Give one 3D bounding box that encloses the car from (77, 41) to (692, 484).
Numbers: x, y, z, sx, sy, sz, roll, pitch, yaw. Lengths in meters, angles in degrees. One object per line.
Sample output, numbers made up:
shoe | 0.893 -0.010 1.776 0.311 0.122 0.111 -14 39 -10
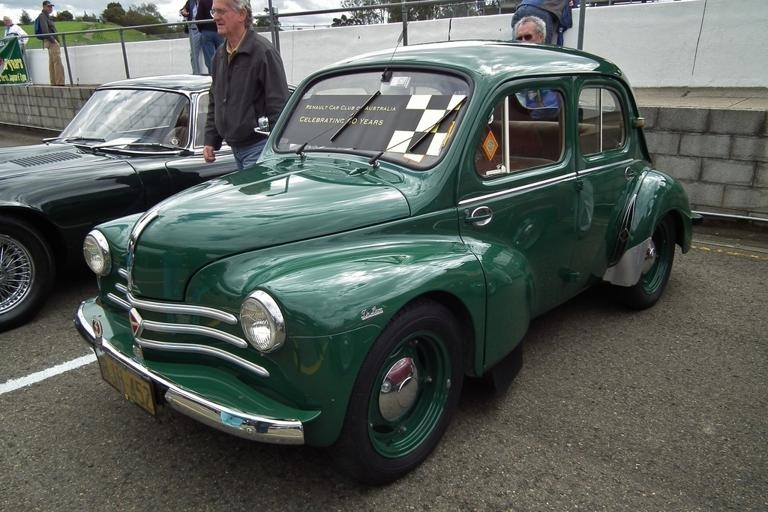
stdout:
car | 0.292 -0.258 3.947 4.350 1.888 2.587 -12 16 -40
